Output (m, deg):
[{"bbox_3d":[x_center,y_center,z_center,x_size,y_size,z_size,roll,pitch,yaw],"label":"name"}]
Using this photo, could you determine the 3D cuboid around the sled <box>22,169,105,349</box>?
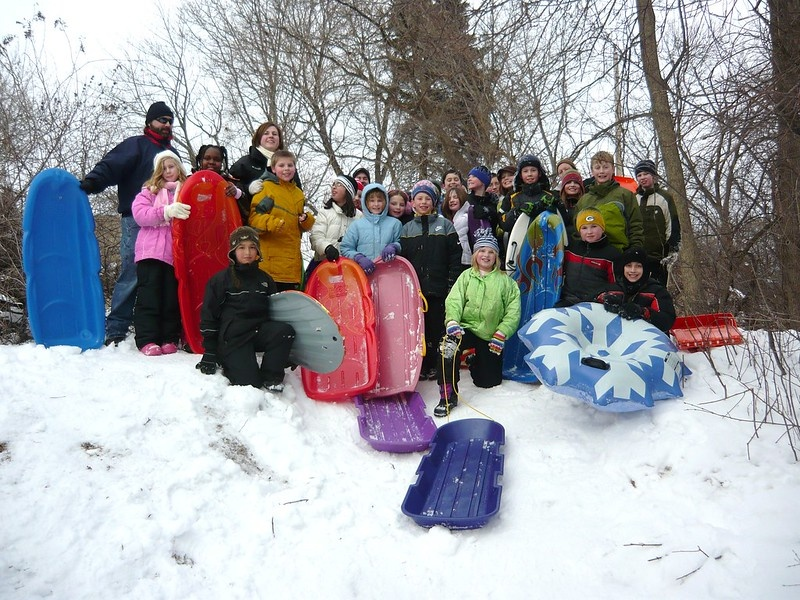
[{"bbox_3d":[-3.234,-0.404,6.211,0.666,1.745,0.433,-4,4,-32],"label":"sled"}]

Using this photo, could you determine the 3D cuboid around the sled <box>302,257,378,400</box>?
[{"bbox_3d":[-0.612,0.284,6.551,0.817,1.556,0.348,-8,-26,6],"label":"sled"}]

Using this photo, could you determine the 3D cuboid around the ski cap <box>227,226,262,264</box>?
[{"bbox_3d":[-1.485,-0.534,6.202,0.231,0.265,0.286,9,-27,-34],"label":"ski cap"}]

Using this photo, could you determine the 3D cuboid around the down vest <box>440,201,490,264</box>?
[{"bbox_3d":[0.750,-0.765,7.241,0.435,0.663,0.191,-1,0,-21],"label":"down vest"}]

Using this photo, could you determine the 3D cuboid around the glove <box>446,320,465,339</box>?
[{"bbox_3d":[0.543,0.288,6.369,0.162,0.165,0.162,-2,4,4],"label":"glove"}]

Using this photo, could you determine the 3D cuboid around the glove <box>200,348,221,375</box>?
[{"bbox_3d":[-1.766,0.581,5.986,0.197,0.200,0.125,-5,5,-35],"label":"glove"}]

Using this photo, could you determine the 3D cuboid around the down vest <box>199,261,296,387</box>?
[{"bbox_3d":[-1.447,0.231,6.107,0.831,1.134,0.475,-3,4,-19],"label":"down vest"}]

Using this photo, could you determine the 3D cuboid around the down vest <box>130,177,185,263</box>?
[{"bbox_3d":[-2.393,-0.749,6.396,0.463,0.808,0.230,-2,4,3],"label":"down vest"}]

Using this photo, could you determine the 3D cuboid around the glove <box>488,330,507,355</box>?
[{"bbox_3d":[0.962,0.425,6.356,0.165,0.223,0.078,23,-4,20],"label":"glove"}]

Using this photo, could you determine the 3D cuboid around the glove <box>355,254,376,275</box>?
[{"bbox_3d":[-0.357,-0.371,6.778,0.157,0.221,0.070,-42,3,-10],"label":"glove"}]

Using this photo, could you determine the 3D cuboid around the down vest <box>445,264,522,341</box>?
[{"bbox_3d":[0.839,0.006,6.546,0.702,0.791,0.535,7,2,14],"label":"down vest"}]

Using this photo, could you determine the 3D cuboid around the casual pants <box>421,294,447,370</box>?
[{"bbox_3d":[0.360,0.319,6.885,0.207,0.855,0.136,2,-3,11],"label":"casual pants"}]

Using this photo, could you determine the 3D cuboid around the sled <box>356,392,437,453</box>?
[{"bbox_3d":[-0.045,1.099,6.233,0.689,0.165,1.110,9,12,-4],"label":"sled"}]

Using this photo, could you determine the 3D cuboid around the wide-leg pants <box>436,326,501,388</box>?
[{"bbox_3d":[0.756,0.625,6.581,0.581,0.630,0.197,0,8,-9],"label":"wide-leg pants"}]

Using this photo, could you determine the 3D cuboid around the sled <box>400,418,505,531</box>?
[{"bbox_3d":[0.495,1.432,5.423,0.687,0.204,1.356,-5,19,15],"label":"sled"}]

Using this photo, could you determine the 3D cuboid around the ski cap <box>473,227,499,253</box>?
[{"bbox_3d":[0.891,-0.623,6.624,0.193,0.229,0.264,0,-37,5],"label":"ski cap"}]

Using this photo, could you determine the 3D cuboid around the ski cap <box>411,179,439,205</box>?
[{"bbox_3d":[0.267,-1.203,7.216,0.236,0.275,0.332,2,8,9],"label":"ski cap"}]

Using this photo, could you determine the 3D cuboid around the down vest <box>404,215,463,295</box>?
[{"bbox_3d":[0.345,-0.454,6.878,0.677,1.012,0.415,-1,-14,-1],"label":"down vest"}]

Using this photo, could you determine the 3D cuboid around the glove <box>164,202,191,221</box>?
[{"bbox_3d":[-2.173,-0.867,6.297,0.248,0.168,0.156,-3,4,-12],"label":"glove"}]

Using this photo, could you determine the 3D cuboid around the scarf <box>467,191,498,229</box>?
[{"bbox_3d":[0.936,-1.030,7.271,0.299,0.451,0.181,-4,-8,-10],"label":"scarf"}]

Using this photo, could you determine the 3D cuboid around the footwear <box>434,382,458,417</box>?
[{"bbox_3d":[0.453,0.979,6.356,0.179,0.295,0.296,0,4,22],"label":"footwear"}]
